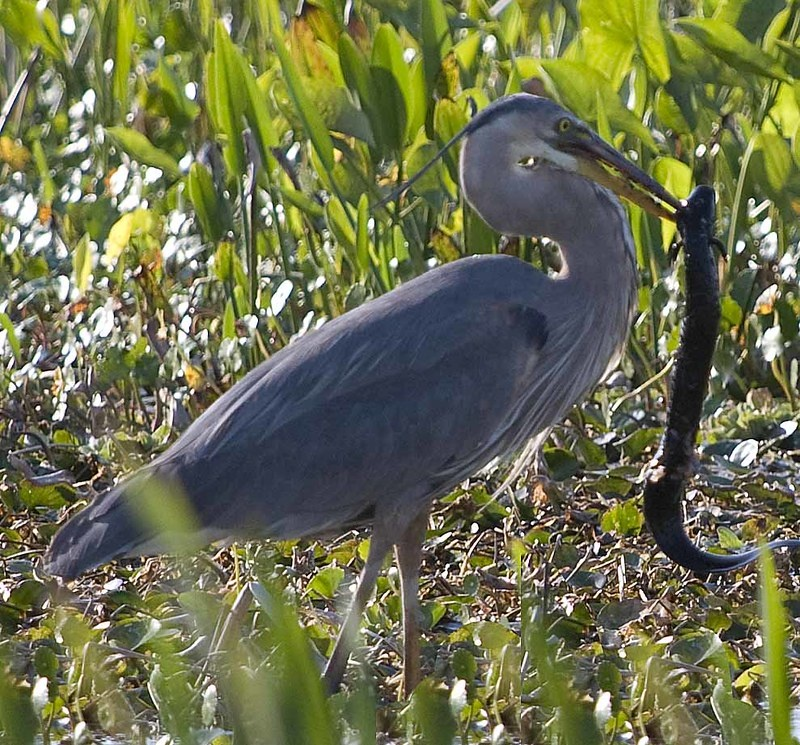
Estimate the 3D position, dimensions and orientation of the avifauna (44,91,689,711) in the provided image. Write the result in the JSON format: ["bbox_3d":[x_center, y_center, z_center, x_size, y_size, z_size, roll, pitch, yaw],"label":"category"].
[{"bbox_3d":[-0.038,0.043,2.485,1.331,1.342,0.483,-2,-3,-4],"label":"avifauna"}]
